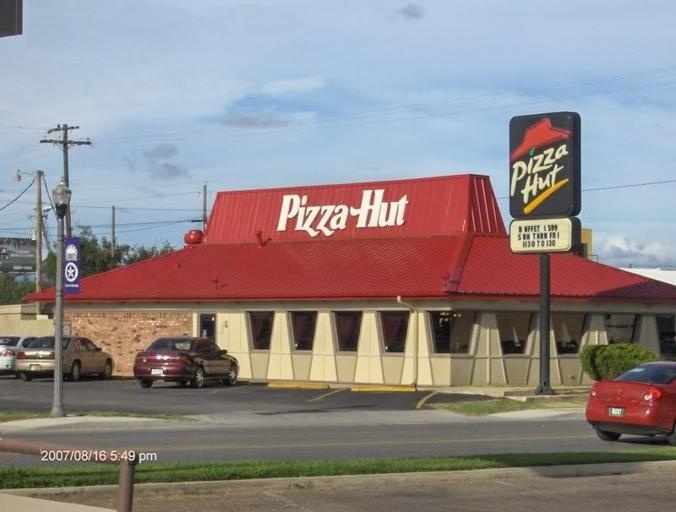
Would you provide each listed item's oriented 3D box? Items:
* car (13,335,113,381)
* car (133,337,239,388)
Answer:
[{"bbox_3d":[-9.626,3.616,45.711,1.809,1.186,3.859,0,1,27],"label":"car"},{"bbox_3d":[-4.879,3.518,42.552,1.582,0.995,3.139,0,1,24],"label":"car"}]
